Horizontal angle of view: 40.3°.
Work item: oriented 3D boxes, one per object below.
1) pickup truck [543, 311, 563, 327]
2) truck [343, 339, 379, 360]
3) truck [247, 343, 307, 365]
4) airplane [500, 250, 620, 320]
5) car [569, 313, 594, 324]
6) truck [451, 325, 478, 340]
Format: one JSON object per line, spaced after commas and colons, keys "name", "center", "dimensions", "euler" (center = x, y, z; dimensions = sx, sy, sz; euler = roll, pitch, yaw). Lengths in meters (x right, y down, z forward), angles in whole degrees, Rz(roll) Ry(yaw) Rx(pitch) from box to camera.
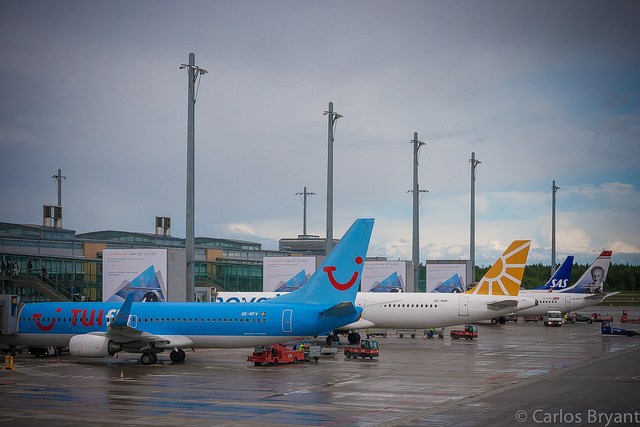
{"name": "pickup truck", "center": [28.302, 12.852, 105.599], "dimensions": [1.509, 1.098, 2.592], "euler": [-1, -10, 3]}
{"name": "truck", "center": [3.137, 10.463, 66.731], "dimensions": [2.120, 1.053, 1.350], "euler": [-4, -6, 31]}
{"name": "truck", "center": [-3.206, 10.360, 63.755], "dimensions": [1.866, 1.315, 3.503], "euler": [-4, -6, 42]}
{"name": "airplane", "center": [29.280, 10.202, 114.386], "dimensions": [19.413, 8.608, 20.254], "euler": [4, -9, -36]}
{"name": "car", "center": [34.594, 14.188, 115.477], "dimensions": [2.862, 1.156, 1.580], "euler": [-3, -1, 10]}
{"name": "truck", "center": [14.175, 11.585, 84.406], "dimensions": [2.657, 1.304, 1.096], "euler": [-2, -1, 19]}
